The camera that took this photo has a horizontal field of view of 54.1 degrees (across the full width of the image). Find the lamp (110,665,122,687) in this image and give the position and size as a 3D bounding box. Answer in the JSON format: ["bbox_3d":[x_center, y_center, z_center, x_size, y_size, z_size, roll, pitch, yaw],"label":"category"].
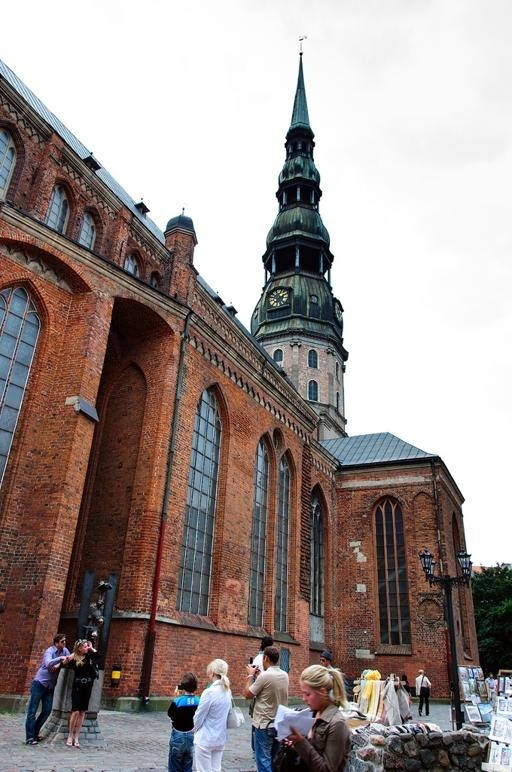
[{"bbox_3d":[-3.372,6.915,11.949,0.337,0.447,0.198,-18,-31,37],"label":"lamp"}]

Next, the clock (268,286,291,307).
[{"bbox_3d":[2.330,-8.623,48.575,1.674,1.962,0.150,-28,-47,35],"label":"clock"}]

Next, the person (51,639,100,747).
[{"bbox_3d":[-2.458,4.189,6.898,0.485,1.240,0.940,10,-26,-17],"label":"person"}]
